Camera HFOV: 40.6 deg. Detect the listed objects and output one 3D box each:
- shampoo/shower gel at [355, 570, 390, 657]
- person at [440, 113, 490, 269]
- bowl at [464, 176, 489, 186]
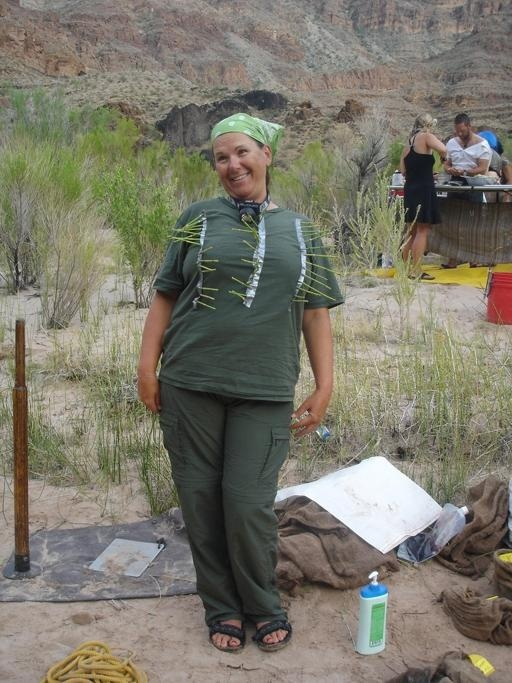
[{"bbox_3d":[0.351,0.807,2.066,0.097,0.273,0.090,-2,4,-12],"label":"shampoo/shower gel"},{"bbox_3d":[1.679,-1.422,6.733,0.495,1.551,0.664,-5,11,-15],"label":"person"},{"bbox_3d":[2.242,-1.613,7.016,0.168,0.058,0.121,1,2,-8],"label":"bowl"}]
